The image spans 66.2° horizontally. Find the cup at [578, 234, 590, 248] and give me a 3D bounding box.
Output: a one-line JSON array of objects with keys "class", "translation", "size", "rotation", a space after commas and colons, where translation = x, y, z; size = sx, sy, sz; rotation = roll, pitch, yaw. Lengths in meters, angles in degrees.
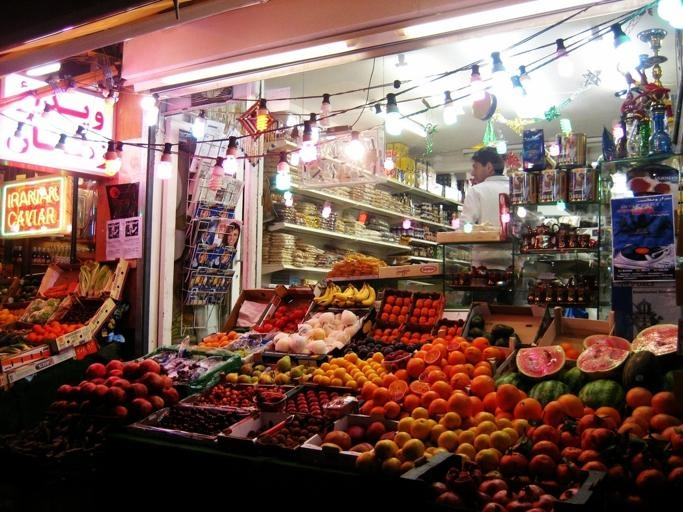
[{"class": "cup", "translation": [2.334, -0.132, 5.016], "size": [0.093, 0.142, 0.091], "rotation": [0, -1, 0]}]

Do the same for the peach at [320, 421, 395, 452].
[{"class": "peach", "translation": [0.082, 0.961, 2.803], "size": [0.184, 0.067, 0.196], "rotation": [-9, -7, 30]}]

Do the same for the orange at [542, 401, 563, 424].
[{"class": "orange", "translation": [1.089, 0.810, 2.721], "size": [0.096, 0.112, 0.099], "rotation": [-12, -11, 44]}]

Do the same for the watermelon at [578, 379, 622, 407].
[{"class": "watermelon", "translation": [1.435, 0.759, 2.882], "size": [0.168, 0.146, 0.196], "rotation": [5, -7, -39]}]

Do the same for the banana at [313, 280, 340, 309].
[{"class": "banana", "translation": [-0.143, 0.370, 5.153], "size": [0.140, 0.140, 0.375], "rotation": [15, 16, 11]}]

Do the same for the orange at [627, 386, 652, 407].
[{"class": "orange", "translation": [1.566, 0.750, 2.751], "size": [0.118, 0.102, 0.116], "rotation": [-1, -1, 28]}]

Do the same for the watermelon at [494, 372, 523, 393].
[{"class": "watermelon", "translation": [1.013, 0.770, 3.195], "size": [0.145, 0.085, 0.106], "rotation": [-16, -9, 25]}]

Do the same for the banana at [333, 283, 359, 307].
[{"class": "banana", "translation": [0.051, 0.395, 4.978], "size": [0.116, 0.108, 0.286], "rotation": [15, 5, 3]}]

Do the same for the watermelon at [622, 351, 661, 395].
[{"class": "watermelon", "translation": [1.633, 0.631, 2.837], "size": [0.175, 0.223, 0.172], "rotation": [12, 6, -7]}]

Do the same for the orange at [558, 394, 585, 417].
[{"class": "orange", "translation": [1.202, 0.772, 2.745], "size": [0.116, 0.131, 0.118], "rotation": [-9, -4, 26]}]

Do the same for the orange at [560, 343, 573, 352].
[{"class": "orange", "translation": [1.484, 0.597, 3.433], "size": [0.051, 0.056, 0.050], "rotation": [-8, 0, 17]}]

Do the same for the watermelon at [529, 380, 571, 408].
[{"class": "watermelon", "translation": [1.204, 0.781, 3.025], "size": [0.150, 0.154, 0.189], "rotation": [14, -17, -37]}]

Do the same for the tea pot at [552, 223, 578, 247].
[{"class": "tea pot", "translation": [2.201, -0.156, 5.208], "size": [0.275, 0.260, 0.206], "rotation": [-4, -18, 28]}]

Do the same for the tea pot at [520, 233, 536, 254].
[{"class": "tea pot", "translation": [1.909, -0.119, 5.365], "size": [0.176, 0.223, 0.193], "rotation": [-6, -13, 43]}]

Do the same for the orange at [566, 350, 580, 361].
[{"class": "orange", "translation": [1.461, 0.629, 3.297], "size": [0.060, 0.067, 0.060], "rotation": [-9, -12, 40]}]

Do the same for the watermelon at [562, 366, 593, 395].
[{"class": "watermelon", "translation": [1.367, 0.727, 3.067], "size": [0.118, 0.089, 0.150], "rotation": [-9, 15, 15]}]

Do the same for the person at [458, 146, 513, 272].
[{"class": "person", "translation": [1.657, -0.592, 6.067], "size": [0.561, 1.487, 1.248], "rotation": [-1, -1, 15]}]

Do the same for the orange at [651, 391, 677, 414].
[{"class": "orange", "translation": [1.616, 0.736, 2.617], "size": [0.097, 0.111, 0.096], "rotation": [-11, -19, 26]}]

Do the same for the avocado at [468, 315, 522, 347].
[{"class": "avocado", "translation": [1.127, 0.565, 3.945], "size": [0.167, 0.119, 0.332], "rotation": [-11, 8, -23]}]

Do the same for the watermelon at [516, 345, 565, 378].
[{"class": "watermelon", "translation": [1.255, 0.676, 3.282], "size": [0.291, 0.101, 0.327], "rotation": [-11, 22, 26]}]

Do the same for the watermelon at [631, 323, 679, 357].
[{"class": "watermelon", "translation": [1.899, 0.506, 3.149], "size": [0.255, 0.077, 0.221], "rotation": [-23, 16, -14]}]

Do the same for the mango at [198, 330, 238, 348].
[{"class": "mango", "translation": [-1.112, 0.768, 4.767], "size": [0.235, 0.065, 0.182], "rotation": [-3, 3, -18]}]
